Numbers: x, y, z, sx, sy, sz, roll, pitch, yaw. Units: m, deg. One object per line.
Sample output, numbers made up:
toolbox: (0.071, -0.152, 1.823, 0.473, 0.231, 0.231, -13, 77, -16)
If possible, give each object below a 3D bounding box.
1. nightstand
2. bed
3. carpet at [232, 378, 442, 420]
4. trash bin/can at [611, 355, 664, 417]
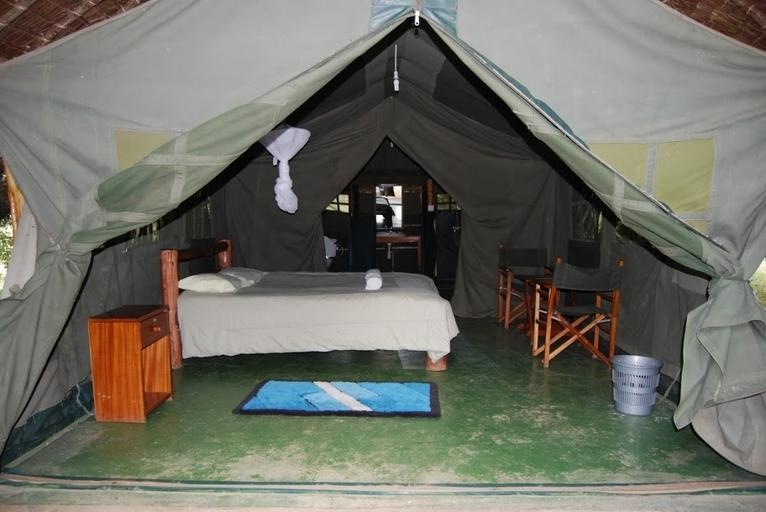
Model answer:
nightstand: (-2.011, 0.841, 4.835, 0.472, 0.873, 0.490, 1, 2, 3)
bed: (-0.849, 0.507, 5.871, 1.831, 0.782, 1.530, -1, 9, -6)
carpet: (-0.364, 1.177, 5.068, 1.646, 0.131, 0.664, 1, 1, 0)
trash bin/can: (2.034, 1.029, 5.020, 0.455, 0.448, 0.441, -1, 5, -2)
